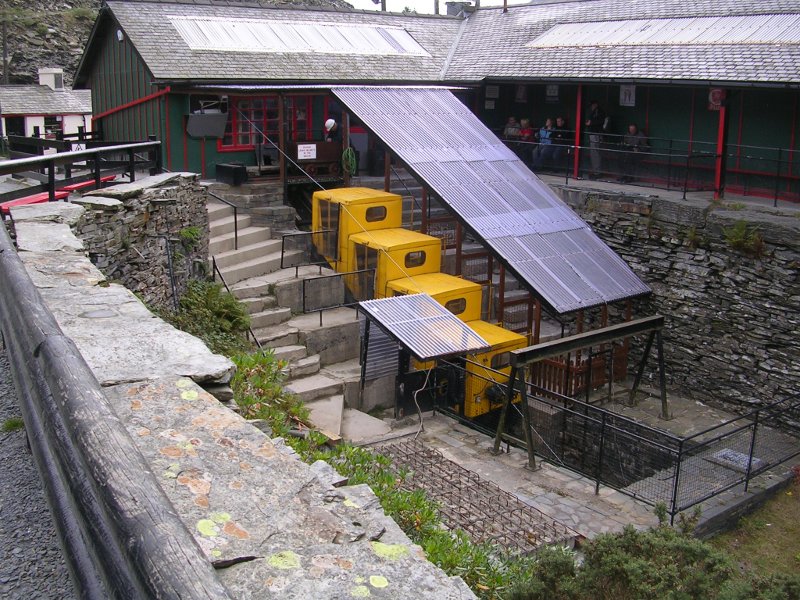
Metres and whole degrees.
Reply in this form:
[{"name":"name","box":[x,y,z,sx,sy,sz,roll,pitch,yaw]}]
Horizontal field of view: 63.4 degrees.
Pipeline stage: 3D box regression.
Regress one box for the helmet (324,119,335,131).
[{"name":"helmet","box":[-2.345,-5.931,22.041,0.199,0.380,0.524,35,12,-18]}]
